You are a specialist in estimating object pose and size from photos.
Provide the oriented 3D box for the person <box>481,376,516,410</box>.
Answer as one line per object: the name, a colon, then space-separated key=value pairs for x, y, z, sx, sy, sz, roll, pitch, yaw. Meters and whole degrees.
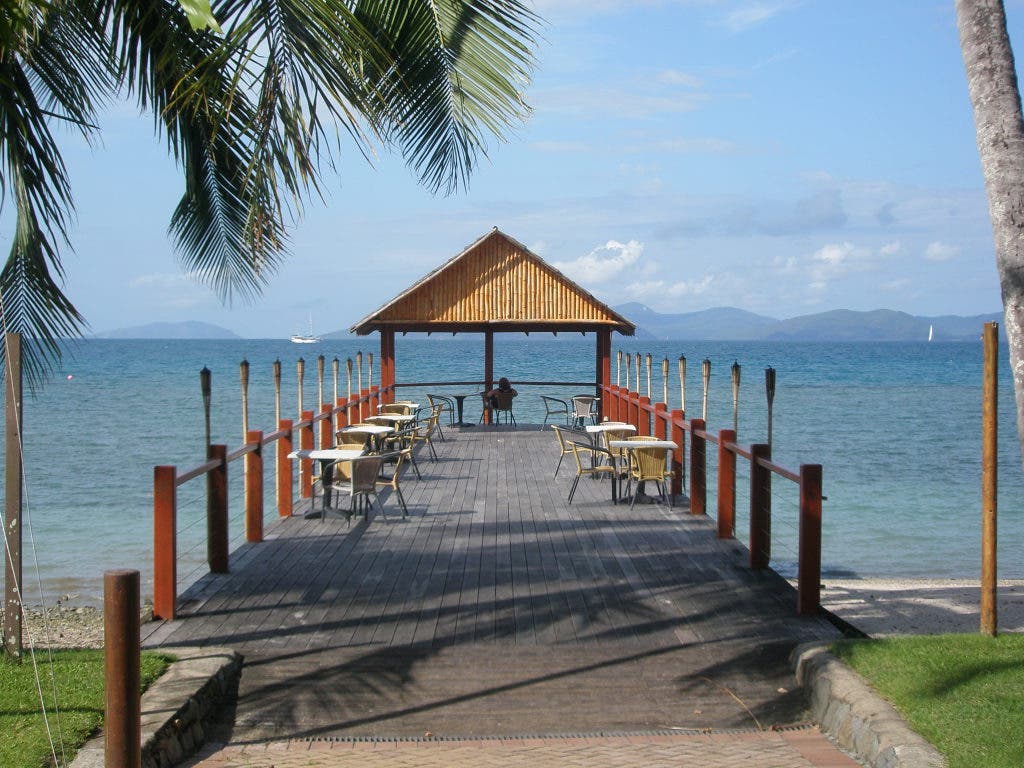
person: x=-0.234 y=0.231 z=24.617 sx=0.541 sy=0.625 sz=0.806 roll=1 pitch=11 yaw=-9

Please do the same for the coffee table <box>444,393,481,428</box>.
coffee table: x=-1.397 y=0.803 z=32.715 sx=0.847 sy=0.896 sz=0.842 roll=0 pitch=-2 yaw=-30
